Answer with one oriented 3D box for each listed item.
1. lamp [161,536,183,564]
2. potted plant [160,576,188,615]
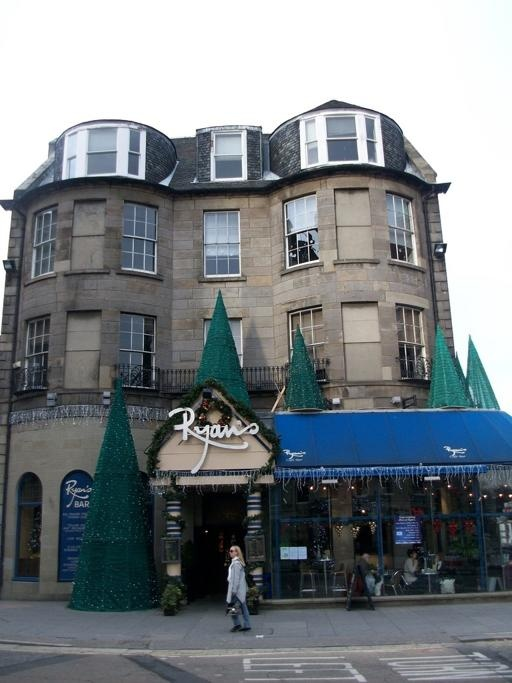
[{"bbox_3d":[-2.030,4.974,16.380,0.615,0.731,0.567,0,-11,-6],"label":"lamp"},{"bbox_3d":[-1.890,5.866,15.798,0.789,0.976,0.702,-2,-9,-3],"label":"potted plant"}]
